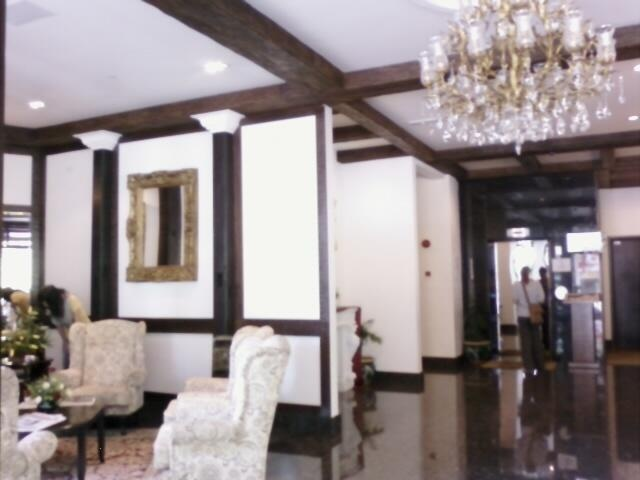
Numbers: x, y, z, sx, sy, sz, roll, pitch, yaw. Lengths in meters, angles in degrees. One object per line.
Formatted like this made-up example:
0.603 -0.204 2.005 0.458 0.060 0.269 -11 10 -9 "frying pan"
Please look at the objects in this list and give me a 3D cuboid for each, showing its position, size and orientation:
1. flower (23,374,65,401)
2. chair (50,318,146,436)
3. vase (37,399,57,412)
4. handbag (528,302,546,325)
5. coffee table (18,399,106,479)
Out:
-2.708 1.457 5.253 0.335 0.235 0.334 4 -4 -6 "flower"
-2.399 1.579 6.521 1.107 1.367 1.063 0 -14 -5 "chair"
-2.663 1.611 5.121 0.136 0.095 0.138 0 -2 16 "vase"
3.698 1.260 8.981 0.295 0.370 0.125 0 -2 -30 "handbag"
-2.372 2.021 5.017 0.503 0.428 0.896 -2 -6 8 "coffee table"
